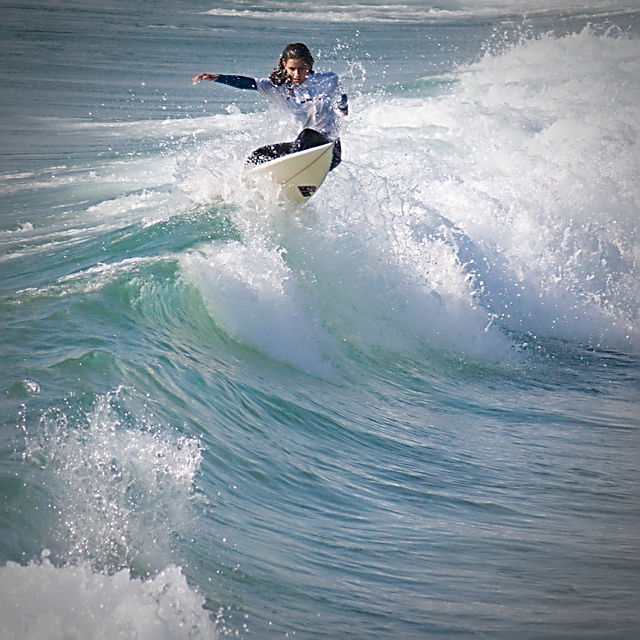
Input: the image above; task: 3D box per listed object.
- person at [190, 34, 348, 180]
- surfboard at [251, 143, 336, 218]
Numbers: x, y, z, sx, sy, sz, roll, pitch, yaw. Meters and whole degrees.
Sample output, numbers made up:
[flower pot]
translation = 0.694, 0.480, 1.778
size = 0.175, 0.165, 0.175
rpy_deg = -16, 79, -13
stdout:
[person]
translation = -0.135, -2.285, 9.114
size = 1.121, 1.221, 2.801
rpy_deg = 1, 18, 18
[surfboard]
translation = -0.347, -1.610, 9.337
size = 1.547, 0.524, 0.156
rpy_deg = -13, 59, 57
